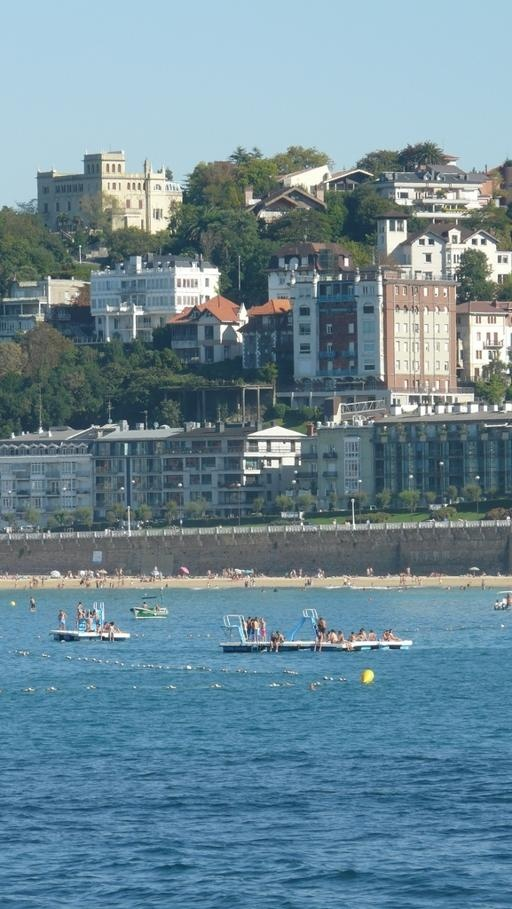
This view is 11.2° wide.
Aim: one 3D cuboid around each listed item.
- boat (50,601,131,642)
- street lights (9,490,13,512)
[{"bbox_3d":[-7.061,7.154,110.251,3.021,1.459,4.839,-2,3,-7],"label":"boat"},{"bbox_3d":[-15.515,3.048,164.851,0.340,1.154,1.079,-1,2,-6],"label":"street lights"}]
